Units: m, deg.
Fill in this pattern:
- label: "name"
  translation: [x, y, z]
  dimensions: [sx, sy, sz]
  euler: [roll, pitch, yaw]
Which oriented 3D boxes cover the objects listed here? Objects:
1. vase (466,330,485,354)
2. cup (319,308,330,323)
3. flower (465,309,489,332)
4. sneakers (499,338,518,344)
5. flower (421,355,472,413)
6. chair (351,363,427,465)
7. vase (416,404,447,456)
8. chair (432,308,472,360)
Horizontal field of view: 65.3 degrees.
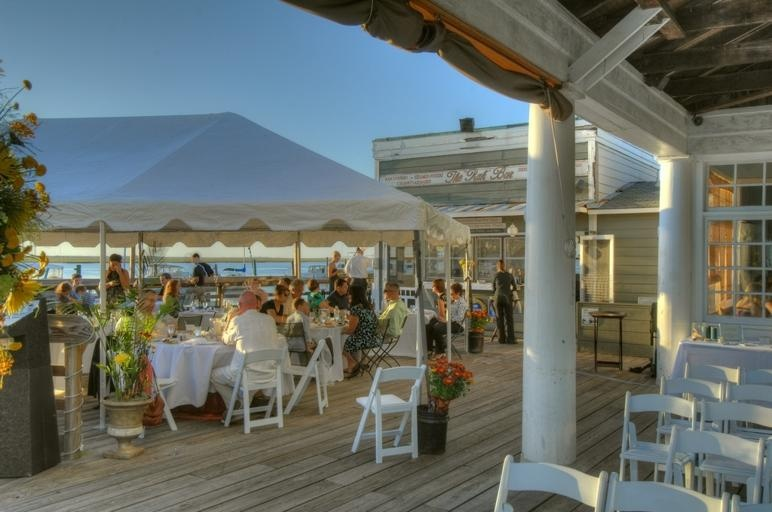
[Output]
- label: "vase"
  translation: [1.921, 1.822, 12.979]
  dimensions: [0.428, 0.430, 0.433]
  euler: [-2, -2, 32]
- label: "cup"
  translation: [-1.078, 1.021, 10.427]
  dimensions: [0.193, 0.176, 0.192]
  euler: [0, -3, 0]
- label: "flower"
  translation: [1.970, 1.390, 12.992]
  dimensions: [0.452, 0.423, 0.444]
  euler: [-1, -1, 13]
- label: "sneakers"
  translation: [2.865, 1.969, 14.101]
  dimensions: [0.418, 0.166, 0.151]
  euler: [-2, -2, 12]
- label: "flower"
  translation: [0.671, 1.557, 7.204]
  dimensions: [0.514, 0.651, 0.659]
  euler: [19, -4, 34]
- label: "chair"
  translation: [0.009, 1.826, 7.208]
  dimensions: [0.803, 1.000, 0.817]
  euler: [3, -8, -19]
- label: "vase"
  translation: [0.542, 2.033, 7.141]
  dimensions: [0.470, 0.467, 0.453]
  euler: [-1, -2, 31]
- label: "chair"
  translation: [1.295, 1.466, 12.069]
  dimensions: [0.706, 0.635, 0.858]
  euler: [-3, 21, 29]
